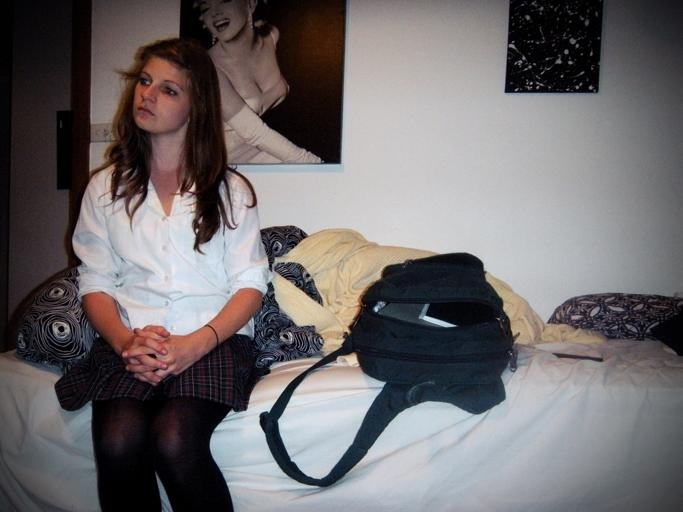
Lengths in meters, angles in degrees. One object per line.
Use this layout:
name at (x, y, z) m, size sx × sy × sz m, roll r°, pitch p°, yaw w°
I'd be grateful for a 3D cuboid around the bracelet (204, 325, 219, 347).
bracelet at (-0.384, 0.231, 1.602) m, size 0.044 × 0.063 × 0.032 m, roll 2°, pitch 11°, yaw -11°

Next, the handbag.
handbag at (0.374, 0.251, 1.870) m, size 0.556 × 0.207 × 0.618 m, roll 2°, pitch 12°, yaw 28°
